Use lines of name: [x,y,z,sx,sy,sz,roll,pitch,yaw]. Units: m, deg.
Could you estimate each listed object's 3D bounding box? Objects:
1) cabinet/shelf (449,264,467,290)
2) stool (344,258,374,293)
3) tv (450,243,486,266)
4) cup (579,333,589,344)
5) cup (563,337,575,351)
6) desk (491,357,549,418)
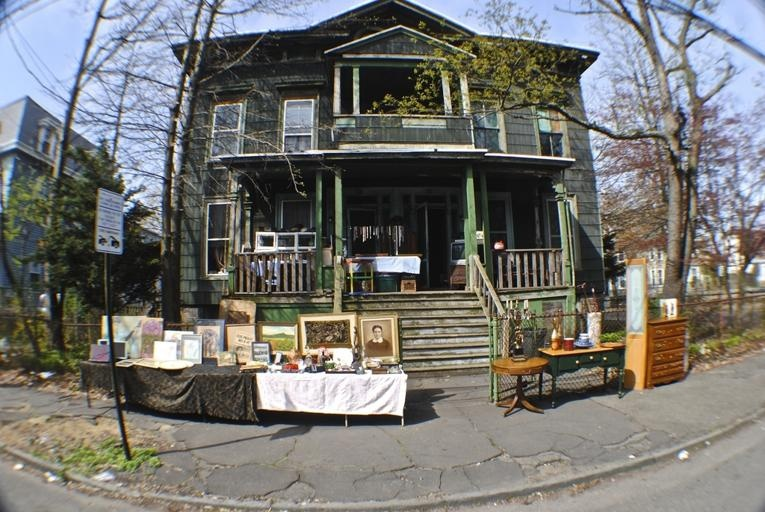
cabinet/shelf: [2.432,0.653,17.848,0.870,0.788,0.607,-2,-10,15]
stool: [-0.658,0.553,17.342,0.943,1.050,1.109,1,-6,-15]
tv: [2.806,-0.156,18.356,1.193,1.014,0.680,0,-10,4]
cup: [4.798,1.921,13.425,0.170,0.162,0.220,2,-5,-44]
cup: [4.435,2.060,13.465,0.308,0.296,0.277,-1,-5,17]
desk: [3.159,2.929,13.083,1.247,1.245,0.916,-3,-3,0]
